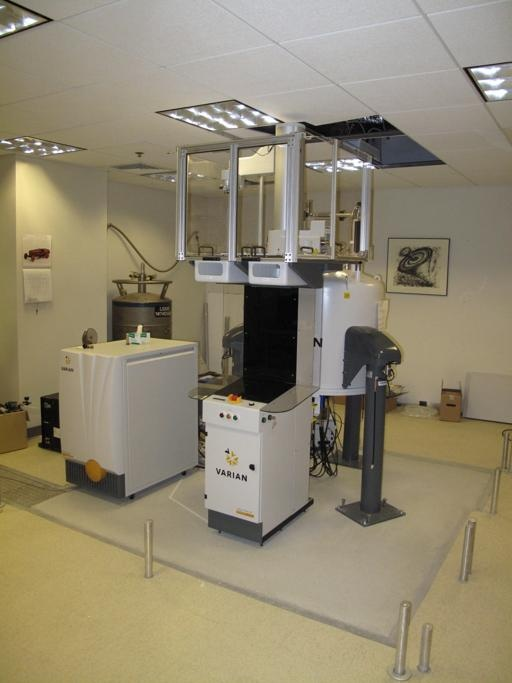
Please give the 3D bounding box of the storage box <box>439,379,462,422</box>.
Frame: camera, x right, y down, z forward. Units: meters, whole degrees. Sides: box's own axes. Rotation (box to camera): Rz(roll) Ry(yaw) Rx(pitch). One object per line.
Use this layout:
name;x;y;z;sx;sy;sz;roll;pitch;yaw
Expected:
storage box;2.474;0.784;6.673;0.269;0.387;0.375;3;6;21

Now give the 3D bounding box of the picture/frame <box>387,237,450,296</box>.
picture/frame;2.111;-0.994;6.910;0.750;0.774;0.012;3;-4;14
